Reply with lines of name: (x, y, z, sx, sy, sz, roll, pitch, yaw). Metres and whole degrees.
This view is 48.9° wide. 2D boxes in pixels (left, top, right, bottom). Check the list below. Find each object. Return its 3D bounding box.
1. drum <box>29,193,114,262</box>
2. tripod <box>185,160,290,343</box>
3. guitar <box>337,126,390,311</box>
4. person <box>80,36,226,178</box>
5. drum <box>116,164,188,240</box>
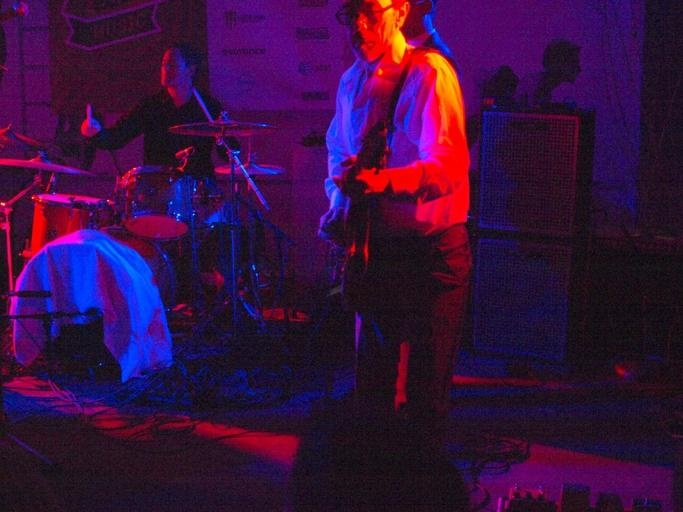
drum: (-1.846, -0.213, 5.157, 0.476, 0.425, 0.442, 4, 4, -11)
tripod: (-0.733, -0.066, 5.483, 0.621, 1.203, 1.129, 0, 4, -4)
guitar: (0.106, -0.167, 3.312, 0.093, 0.696, 0.265, -12, 27, -32)
person: (-1.361, -1.071, 5.525, 0.930, 0.970, 0.622, 0, 4, -11)
drum: (-1.222, -0.343, 4.977, 0.427, 0.495, 0.350, -1, 4, -22)
